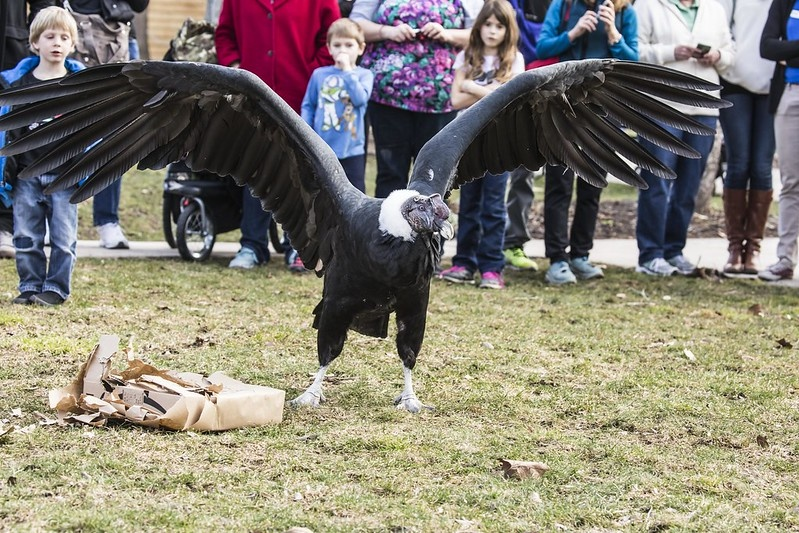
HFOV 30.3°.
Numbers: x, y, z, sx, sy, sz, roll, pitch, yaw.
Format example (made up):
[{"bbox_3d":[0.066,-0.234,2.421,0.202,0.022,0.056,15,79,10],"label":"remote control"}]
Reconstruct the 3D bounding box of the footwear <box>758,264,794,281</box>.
[{"bbox_3d":[3.621,0.058,14.227,0.382,0.130,0.130,5,-8,-17],"label":"footwear"}]

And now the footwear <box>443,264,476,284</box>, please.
[{"bbox_3d":[0.549,0.079,13.684,0.303,0.111,0.138,7,3,-13],"label":"footwear"}]

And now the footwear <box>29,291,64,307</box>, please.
[{"bbox_3d":[-2.858,0.269,11.970,0.221,0.079,0.114,9,13,-46],"label":"footwear"}]

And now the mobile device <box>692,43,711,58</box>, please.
[{"bbox_3d":[2.846,-2.019,13.790,0.146,0.119,0.032,6,12,-6],"label":"mobile device"}]

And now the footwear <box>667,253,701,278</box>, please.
[{"bbox_3d":[2.826,-0.001,14.449,0.355,0.141,0.145,6,3,35],"label":"footwear"}]

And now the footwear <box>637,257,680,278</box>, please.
[{"bbox_3d":[2.525,0.031,14.293,0.359,0.141,0.165,1,4,21],"label":"footwear"}]

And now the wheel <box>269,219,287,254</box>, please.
[{"bbox_3d":[-1.134,-0.281,13.924,0.082,0.293,0.325,-12,-13,10],"label":"wheel"}]

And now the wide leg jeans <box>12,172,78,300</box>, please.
[{"bbox_3d":[-2.874,-0.256,12.066,0.572,1.092,0.361,4,4,6],"label":"wide leg jeans"}]

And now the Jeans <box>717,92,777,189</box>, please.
[{"bbox_3d":[3.449,-1.113,14.434,0.558,1.359,0.357,1,-11,3],"label":"Jeans"}]

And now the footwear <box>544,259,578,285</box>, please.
[{"bbox_3d":[1.522,0.072,13.859,0.156,0.140,0.337,0,-2,-19],"label":"footwear"}]

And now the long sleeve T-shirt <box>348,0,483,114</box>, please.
[{"bbox_3d":[0.188,-1.838,13.051,1.210,1.256,0.779,7,-2,5],"label":"long sleeve T-shirt"}]
